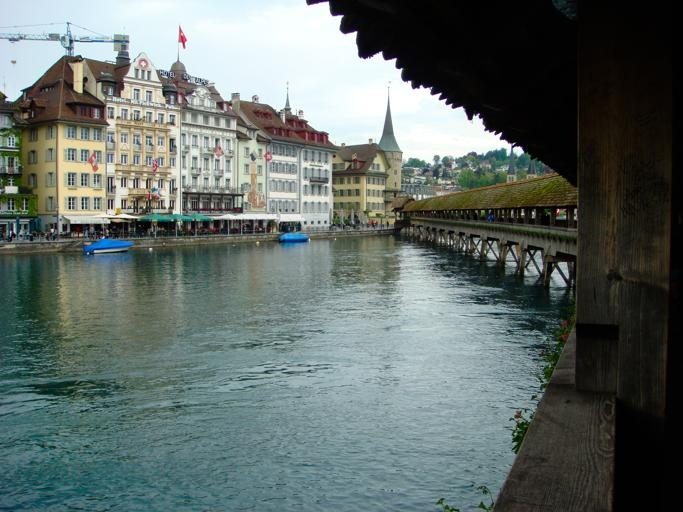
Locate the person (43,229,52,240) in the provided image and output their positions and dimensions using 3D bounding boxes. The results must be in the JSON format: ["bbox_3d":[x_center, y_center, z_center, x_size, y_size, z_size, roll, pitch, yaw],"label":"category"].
[{"bbox_3d":[-28.911,-2.153,62.688,0.691,0.891,1.267,-1,8,-12],"label":"person"}]

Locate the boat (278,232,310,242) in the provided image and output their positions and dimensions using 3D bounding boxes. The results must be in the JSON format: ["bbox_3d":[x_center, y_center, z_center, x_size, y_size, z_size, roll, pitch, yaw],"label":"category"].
[{"bbox_3d":[-5.832,-2.260,78.486,2.763,0.971,1.554,2,-3,-36],"label":"boat"}]

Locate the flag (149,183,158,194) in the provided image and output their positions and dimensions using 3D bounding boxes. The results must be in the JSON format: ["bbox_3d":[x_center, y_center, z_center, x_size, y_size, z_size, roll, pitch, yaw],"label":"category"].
[{"bbox_3d":[-21.646,-7.798,73.169,1.243,1.221,0.675,-2,15,-9],"label":"flag"}]

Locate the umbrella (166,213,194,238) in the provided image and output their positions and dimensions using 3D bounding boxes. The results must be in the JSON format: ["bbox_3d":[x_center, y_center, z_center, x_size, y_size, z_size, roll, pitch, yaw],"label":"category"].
[{"bbox_3d":[-18.820,-3.997,74.158,2.844,2.020,2.918,0,-4,8],"label":"umbrella"}]

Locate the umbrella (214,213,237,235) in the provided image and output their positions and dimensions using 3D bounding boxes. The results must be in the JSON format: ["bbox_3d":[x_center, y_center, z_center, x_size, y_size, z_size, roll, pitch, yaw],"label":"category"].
[{"bbox_3d":[-15.122,-4.323,82.028,2.562,2.417,4.929,-2,5,-10],"label":"umbrella"}]

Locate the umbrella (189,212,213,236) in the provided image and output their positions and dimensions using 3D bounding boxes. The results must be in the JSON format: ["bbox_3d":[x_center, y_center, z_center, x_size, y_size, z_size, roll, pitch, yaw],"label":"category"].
[{"bbox_3d":[-17.159,-4.020,78.041,2.987,2.073,2.787,-1,1,-8],"label":"umbrella"}]

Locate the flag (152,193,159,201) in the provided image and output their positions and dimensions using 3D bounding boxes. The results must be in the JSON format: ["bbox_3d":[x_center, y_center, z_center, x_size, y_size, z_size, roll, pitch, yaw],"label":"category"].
[{"bbox_3d":[-21.333,-6.845,72.879,0.317,0.691,0.702,-5,-1,44],"label":"flag"}]

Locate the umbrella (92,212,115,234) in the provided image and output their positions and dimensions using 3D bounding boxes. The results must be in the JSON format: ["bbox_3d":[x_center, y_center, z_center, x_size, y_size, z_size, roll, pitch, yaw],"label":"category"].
[{"bbox_3d":[-24.792,-3.541,66.320,2.533,2.733,2.502,2,-3,-32],"label":"umbrella"}]

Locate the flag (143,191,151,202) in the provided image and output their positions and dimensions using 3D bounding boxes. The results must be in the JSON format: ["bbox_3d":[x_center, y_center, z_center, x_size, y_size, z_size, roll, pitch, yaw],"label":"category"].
[{"bbox_3d":[-21.931,-6.880,72.661,0.806,0.926,1.648,5,-2,-7],"label":"flag"}]
